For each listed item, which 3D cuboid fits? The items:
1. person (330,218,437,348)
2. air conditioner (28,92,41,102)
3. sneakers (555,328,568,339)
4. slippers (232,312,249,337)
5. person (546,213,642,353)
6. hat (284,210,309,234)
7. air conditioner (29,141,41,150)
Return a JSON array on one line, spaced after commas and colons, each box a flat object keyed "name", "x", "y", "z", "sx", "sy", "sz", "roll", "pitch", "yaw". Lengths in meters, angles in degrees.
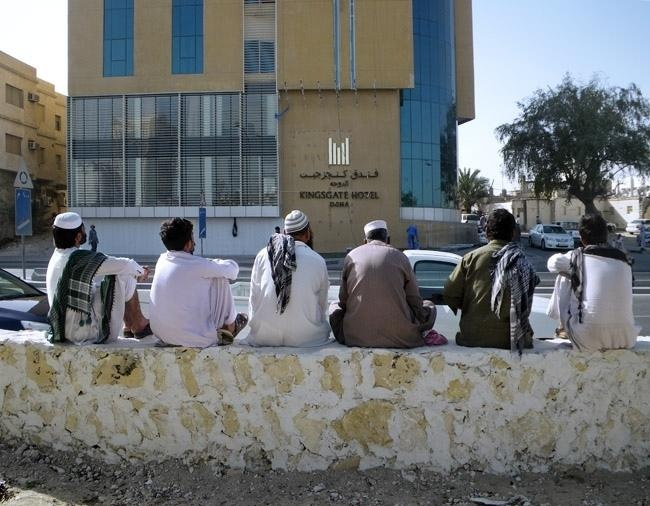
[{"name": "person", "x": 0.596, "y": 0.483, "z": 9.558, "sx": 1.404, "sy": 1.730, "sz": 1.169, "roll": 2, "pitch": -1, "yaw": 7}, {"name": "air conditioner", "x": -16.594, "y": -8.843, "z": 46.129, "sx": 0.392, "sy": 0.585, "sz": 1.222, "roll": 0, "pitch": 4, "yaw": -7}, {"name": "sneakers", "x": 2.753, "y": 0.932, "z": 9.348, "sx": 0.099, "sy": 0.157, "sz": 0.329, "roll": -1, "pitch": -8, "yaw": -3}, {"name": "slippers", "x": -1.009, "y": 0.806, "z": 9.560, "sx": 0.102, "sy": 0.342, "sz": 0.120, "roll": 9, "pitch": -11, "yaw": 29}, {"name": "person", "x": 2.994, "y": 0.317, "z": 8.975, "sx": 0.960, "sy": 1.477, "sz": 0.456, "roll": 2, "pitch": 3, "yaw": 24}, {"name": "hat", "x": -0.344, "y": -0.383, "z": 9.438, "sx": 0.188, "sy": 0.198, "sz": 0.299, "roll": -11, "pitch": 19, "yaw": -2}, {"name": "air conditioner", "x": -16.348, "y": -6.146, "z": 45.304, "sx": 0.325, "sy": 0.486, "sz": 0.632, "roll": 4, "pitch": 5, "yaw": 32}]
